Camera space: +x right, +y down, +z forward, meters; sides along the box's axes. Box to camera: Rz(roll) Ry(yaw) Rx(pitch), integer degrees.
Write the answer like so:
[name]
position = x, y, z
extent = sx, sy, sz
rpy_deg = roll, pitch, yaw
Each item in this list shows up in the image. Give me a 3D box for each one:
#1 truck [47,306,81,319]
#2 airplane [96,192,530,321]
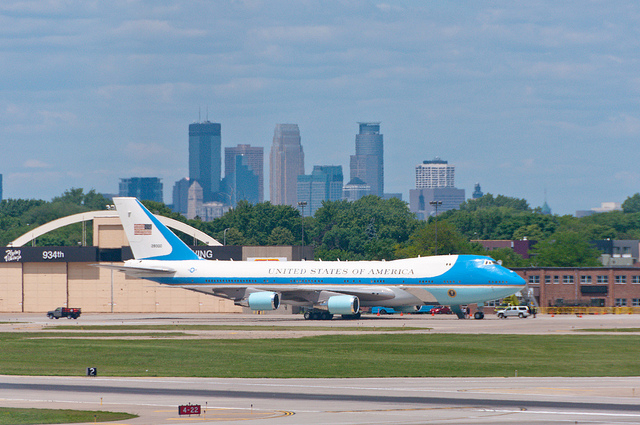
[truck]
position = -31.205, 12.299, 201.621
extent = 3.508, 0.981, 1.636
rpy_deg = 2, -2, 3
[airplane]
position = -0.452, 6.546, 239.872
extent = 89.530, 17.751, 23.985
rpy_deg = 1, -1, -3
